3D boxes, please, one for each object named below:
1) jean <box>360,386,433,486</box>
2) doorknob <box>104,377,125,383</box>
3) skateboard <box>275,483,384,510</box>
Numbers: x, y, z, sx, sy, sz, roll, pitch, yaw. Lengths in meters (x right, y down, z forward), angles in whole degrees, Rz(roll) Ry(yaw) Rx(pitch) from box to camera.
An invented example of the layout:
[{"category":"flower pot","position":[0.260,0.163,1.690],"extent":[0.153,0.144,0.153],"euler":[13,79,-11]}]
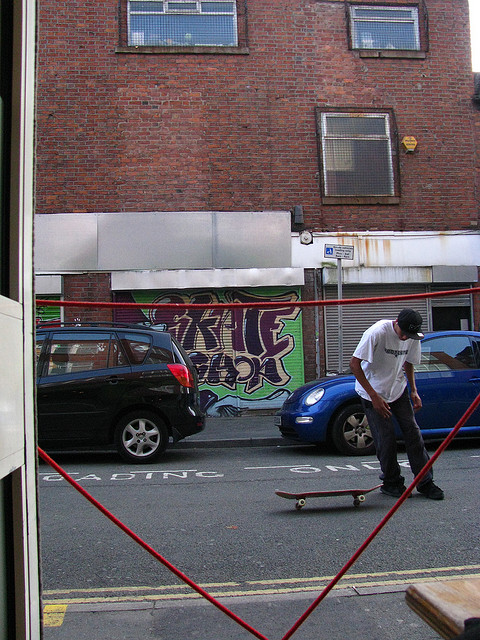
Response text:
[{"category":"jean","position":[1.241,0.961,5.692],"extent":[0.514,0.795,0.292],"euler":[-2,5,13]},{"category":"doorknob","position":[-1.370,0.658,7.773],"extent":[0.215,0.037,0.024],"euler":[-3,5,-4]},{"category":"skateboard","position":[0.723,1.417,5.673],"extent":[1.120,0.189,0.257],"euler":[-1,-29,-8]}]
